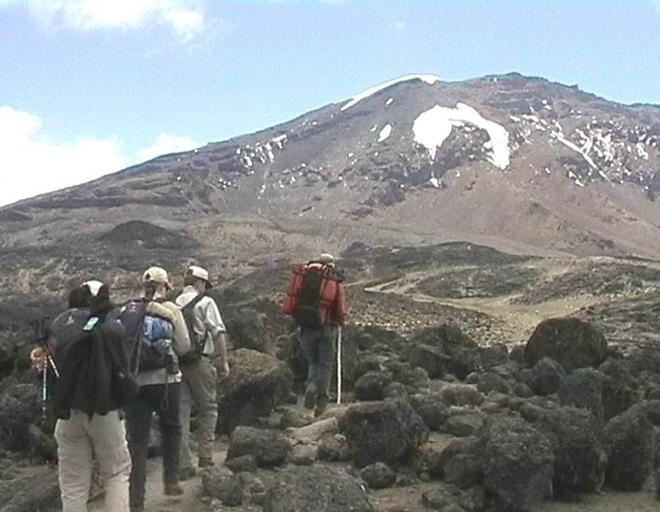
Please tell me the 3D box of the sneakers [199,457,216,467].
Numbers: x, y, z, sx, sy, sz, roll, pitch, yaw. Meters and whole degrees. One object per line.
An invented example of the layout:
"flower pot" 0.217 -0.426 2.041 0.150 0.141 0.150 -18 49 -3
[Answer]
"sneakers" -1.770 2.950 10.735 0.183 0.119 0.127 0 -1 -3

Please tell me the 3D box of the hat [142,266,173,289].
"hat" -2.338 0.299 10.427 0.482 0.438 0.348 2 -2 -33

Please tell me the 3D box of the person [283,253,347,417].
"person" -0.265 1.272 12.594 0.928 2.598 0.552 8 7 32

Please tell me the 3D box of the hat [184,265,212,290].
"hat" -1.897 0.299 11.003 0.327 0.248 0.464 3 -4 25
